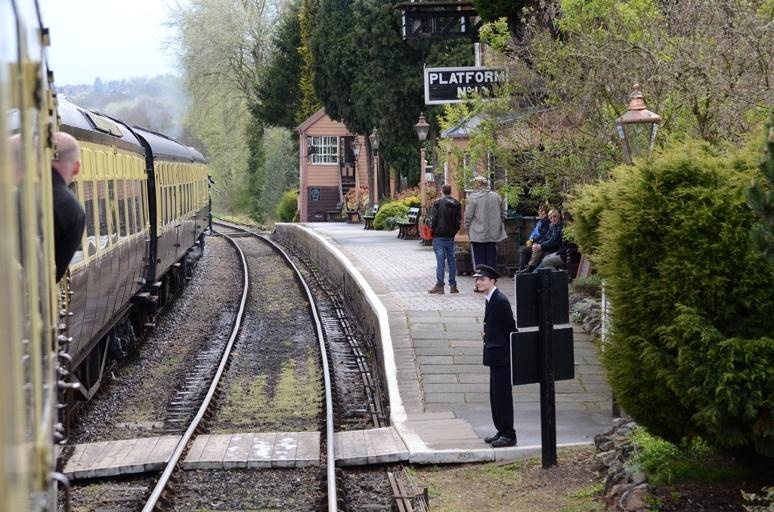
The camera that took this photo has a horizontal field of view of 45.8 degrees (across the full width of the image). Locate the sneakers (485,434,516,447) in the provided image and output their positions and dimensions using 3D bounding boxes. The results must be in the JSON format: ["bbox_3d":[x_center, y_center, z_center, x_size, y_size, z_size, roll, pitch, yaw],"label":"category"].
[{"bbox_3d":[1.248,2.011,10.070,0.353,0.159,0.129,4,9,1],"label":"sneakers"}]

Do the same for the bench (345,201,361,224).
[{"bbox_3d":[-1.655,-2.098,45.978,0.900,1.017,0.955,1,3,25],"label":"bench"}]

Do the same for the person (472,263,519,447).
[{"bbox_3d":[1.217,1.073,10.136,0.434,1.947,0.543,-1,5,3],"label":"person"}]

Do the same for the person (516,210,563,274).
[{"bbox_3d":[2.771,-0.223,16.503,0.765,1.251,0.483,3,16,-33],"label":"person"}]

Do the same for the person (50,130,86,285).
[{"bbox_3d":[-2.132,-0.313,6.118,0.193,0.992,0.401,-3,5,-20],"label":"person"}]

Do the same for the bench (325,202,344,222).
[{"bbox_3d":[-2.958,-2.390,51.528,0.753,0.991,1.305,1,0,-17],"label":"bench"}]

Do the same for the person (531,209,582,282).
[{"bbox_3d":[3.008,-0.053,16.229,0.672,1.531,0.501,-7,-11,-3],"label":"person"}]

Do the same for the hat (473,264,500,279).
[{"bbox_3d":[1.107,0.173,10.200,0.235,0.164,0.417,-1,5,1],"label":"hat"}]

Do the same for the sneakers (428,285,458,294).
[{"bbox_3d":[1.064,0.639,17.082,0.489,0.238,0.210,2,6,-2],"label":"sneakers"}]

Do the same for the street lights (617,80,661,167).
[{"bbox_3d":[3.006,-1.523,10.946,0.559,1.016,0.566,-3,0,41],"label":"street lights"}]

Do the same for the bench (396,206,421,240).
[{"bbox_3d":[0.892,-1.064,31.531,0.592,1.125,1.656,-4,2,1],"label":"bench"}]
